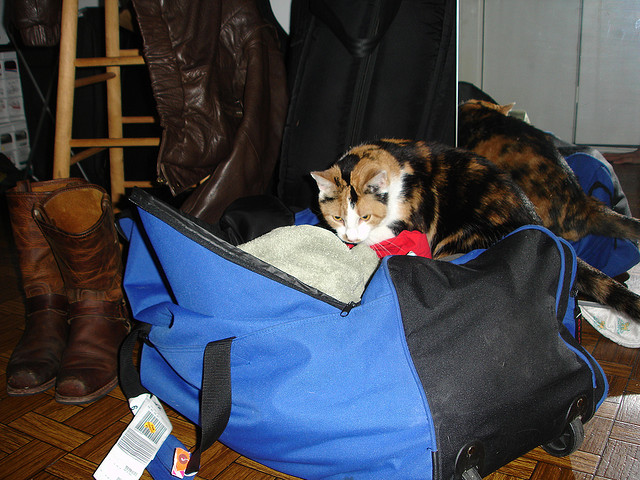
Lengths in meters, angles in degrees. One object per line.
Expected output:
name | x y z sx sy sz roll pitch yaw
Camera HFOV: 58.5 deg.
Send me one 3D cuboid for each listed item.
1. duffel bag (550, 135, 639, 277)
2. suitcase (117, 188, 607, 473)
duffel bag | 0.728 -0.107 1.513 0.069 0.342 0.180 -18 5 -9
suitcase | 0.061 0.087 1.108 0.680 0.365 0.669 19 17 38
